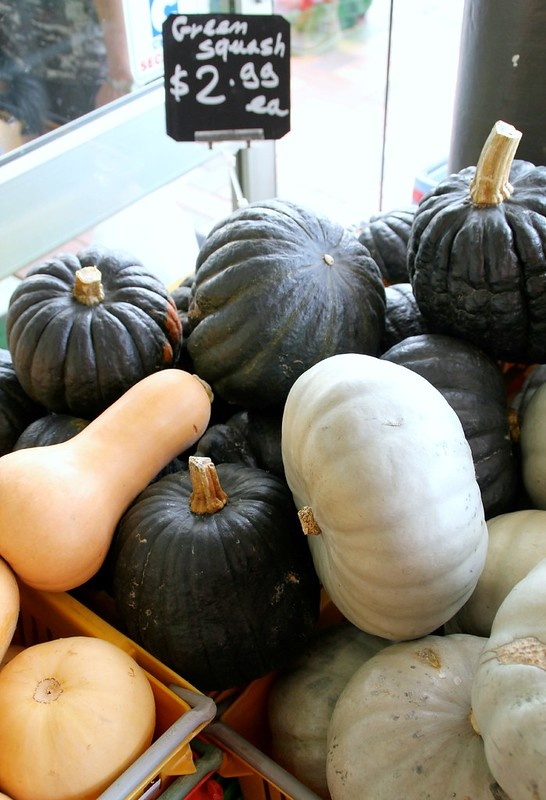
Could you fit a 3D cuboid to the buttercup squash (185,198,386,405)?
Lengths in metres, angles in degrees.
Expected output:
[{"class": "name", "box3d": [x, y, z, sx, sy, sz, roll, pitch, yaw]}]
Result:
[{"class": "buttercup squash", "box3d": [0.077, -0.141, 1.316, 0.351, 0.362, 0.348, 2, 65, 11]}]

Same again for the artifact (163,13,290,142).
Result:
[{"class": "artifact", "box3d": [-0.093, -0.640, 1.384, 0.256, 0.232, 0.052, -7, 30, -10]}]

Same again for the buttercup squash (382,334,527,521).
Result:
[{"class": "buttercup squash", "box3d": [0.299, 0.059, 1.272, 0.280, 0.288, 0.285, -11, 33, 1]}]
